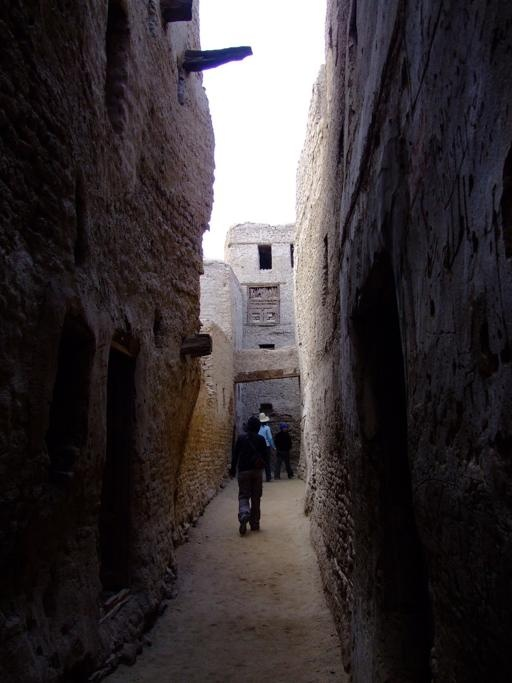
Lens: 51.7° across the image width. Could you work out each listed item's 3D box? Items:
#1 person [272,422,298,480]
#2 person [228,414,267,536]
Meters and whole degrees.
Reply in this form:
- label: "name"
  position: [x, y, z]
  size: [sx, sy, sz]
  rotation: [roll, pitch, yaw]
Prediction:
- label: "person"
  position: [0.636, 2.333, 11.835]
  size: [0.315, 0.443, 1.546]
  rotation: [-5, -57, -6]
- label: "person"
  position: [-0.080, 1.574, 6.345]
  size: [0.401, 1.340, 0.856]
  rotation: [1, -4, -3]
